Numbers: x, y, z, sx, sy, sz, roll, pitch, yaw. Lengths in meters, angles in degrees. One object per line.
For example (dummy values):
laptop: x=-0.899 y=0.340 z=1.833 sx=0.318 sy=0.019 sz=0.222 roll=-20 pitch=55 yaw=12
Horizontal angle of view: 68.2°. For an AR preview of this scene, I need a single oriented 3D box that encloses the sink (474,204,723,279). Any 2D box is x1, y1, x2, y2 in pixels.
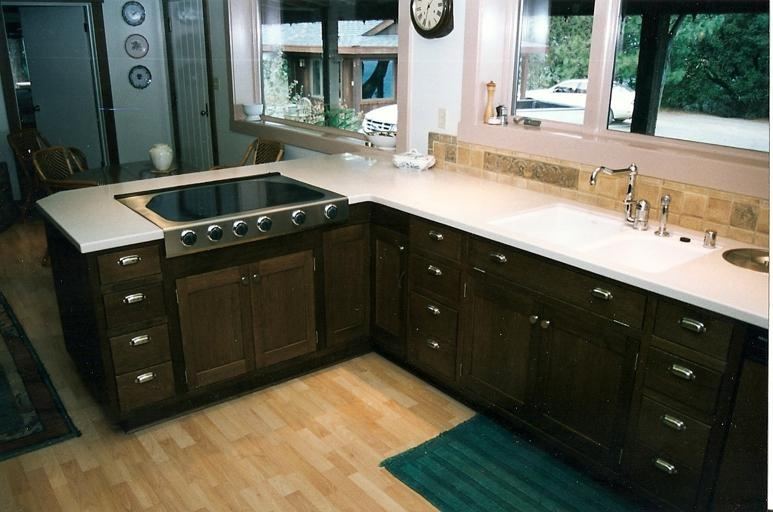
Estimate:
sink: x=1.017 y=-0.044 z=2.796 sx=0.941 sy=0.185 sz=0.590 roll=20 pitch=29 yaw=39
